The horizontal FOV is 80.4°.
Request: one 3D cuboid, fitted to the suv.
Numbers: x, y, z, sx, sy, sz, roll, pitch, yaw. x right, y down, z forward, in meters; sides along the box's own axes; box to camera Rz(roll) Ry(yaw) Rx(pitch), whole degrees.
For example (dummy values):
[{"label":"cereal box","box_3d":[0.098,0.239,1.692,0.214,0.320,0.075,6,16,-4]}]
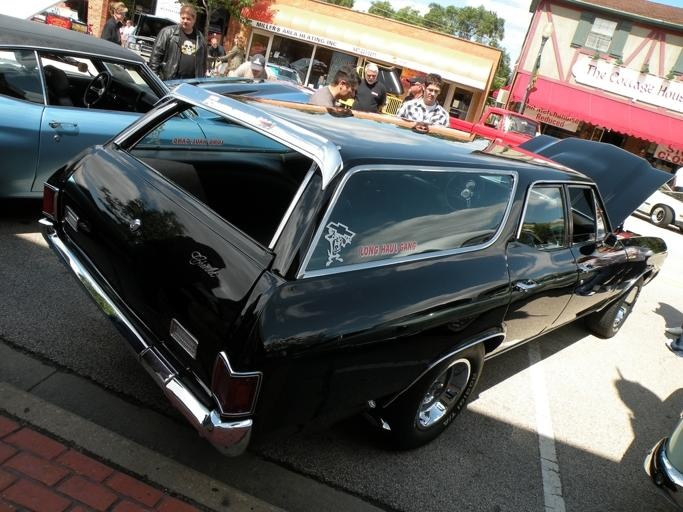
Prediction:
[{"label":"suv","box_3d":[0.692,0.026,3.235,4.336,1.290,2.276,-21,44,-39]}]
